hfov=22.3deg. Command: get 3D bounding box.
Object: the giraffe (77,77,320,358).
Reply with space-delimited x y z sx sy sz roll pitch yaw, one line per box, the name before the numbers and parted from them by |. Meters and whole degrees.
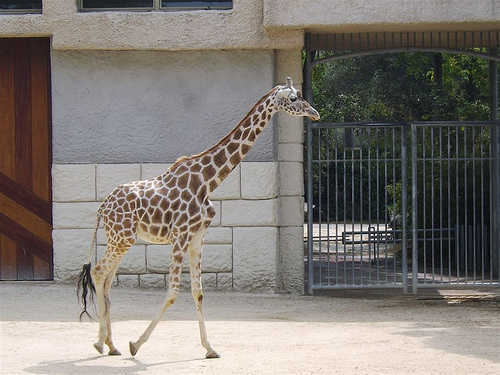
giraffe | -0.908 0.470 18.161 2.638 3.690 1.406 1 12 -4
